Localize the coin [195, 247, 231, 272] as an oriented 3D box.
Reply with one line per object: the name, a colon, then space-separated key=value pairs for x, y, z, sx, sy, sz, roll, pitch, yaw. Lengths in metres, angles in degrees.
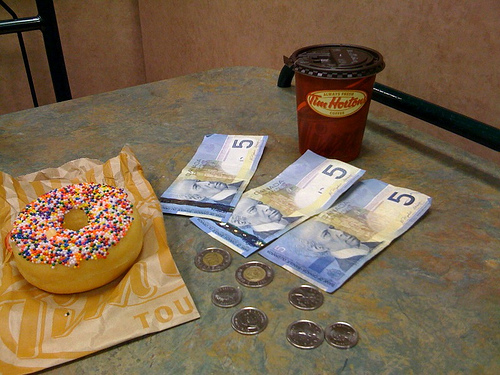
coin: x=-0.073 y=0.137 z=0.813 sx=0.071 sy=0.006 sz=0.061 roll=-3 pitch=43 yaw=-1

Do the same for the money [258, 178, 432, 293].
money: x=0.214 y=0.075 z=0.878 sx=0.346 sy=0.015 sz=0.168 roll=-33 pitch=50 yaw=-32

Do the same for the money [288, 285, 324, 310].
money: x=0.097 y=0.191 z=0.741 sx=0.059 sy=0.004 sz=0.051 roll=6 pitch=40 yaw=3

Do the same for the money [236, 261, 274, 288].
money: x=0.006 y=0.159 z=0.783 sx=0.071 sy=0.007 sz=0.066 roll=-21 pitch=42 yaw=-30

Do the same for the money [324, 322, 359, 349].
money: x=0.147 y=0.240 z=0.690 sx=0.058 sy=0.009 sz=0.051 roll=7 pitch=34 yaw=9

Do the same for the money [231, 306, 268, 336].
money: x=-0.001 y=0.223 z=0.712 sx=0.061 sy=0.009 sz=0.057 roll=-19 pitch=39 yaw=-26

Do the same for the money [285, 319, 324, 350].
money: x=0.097 y=0.235 z=0.678 sx=0.042 sy=0.007 sz=0.042 roll=23 pitch=37 yaw=39

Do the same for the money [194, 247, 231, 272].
money: x=-0.072 y=0.139 z=0.808 sx=0.074 sy=0.007 sz=0.065 roll=-1 pitch=30 yaw=2

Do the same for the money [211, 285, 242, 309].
money: x=-0.042 y=0.191 z=0.744 sx=0.052 sy=0.005 sz=0.047 roll=-1 pitch=40 yaw=-6

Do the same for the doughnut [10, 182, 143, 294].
doughnut: x=-0.327 y=0.090 z=0.801 sx=0.223 sy=0.083 sz=0.223 roll=-20 pitch=46 yaw=-26
